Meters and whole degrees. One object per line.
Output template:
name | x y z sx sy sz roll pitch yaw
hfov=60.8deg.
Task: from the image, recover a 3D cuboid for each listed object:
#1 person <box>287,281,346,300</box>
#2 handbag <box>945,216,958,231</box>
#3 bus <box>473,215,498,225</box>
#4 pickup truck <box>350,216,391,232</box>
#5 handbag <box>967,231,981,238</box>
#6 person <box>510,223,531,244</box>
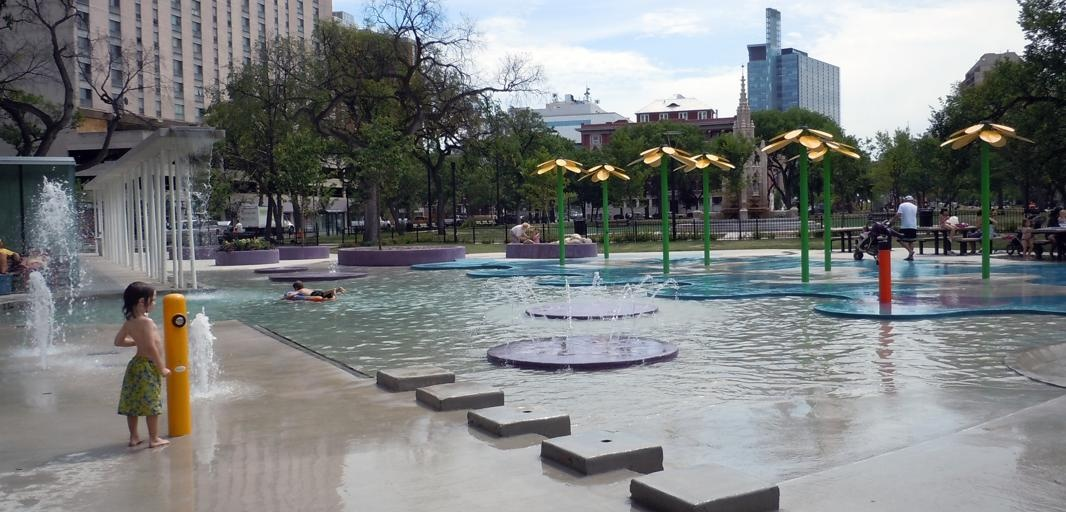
person | -10.171 1.628 42.059 1.997 0.656 1.100 0 -2 6
handbag | 23.807 -1.792 51.973 0.903 0.387 1.080 -6 14 26
bus | -7.533 -5.661 142.187 2.465 1.184 33.976 -2 2 -4
pickup truck | -19.670 -3.899 109.332 4.328 1.504 53.055 -2 2 -11
handbag | 24.965 -1.241 51.581 0.677 0.157 0.585 -6 4 -3
person | -0.856 -1.483 58.887 1.397 1.178 0.973 -2 3 -12
